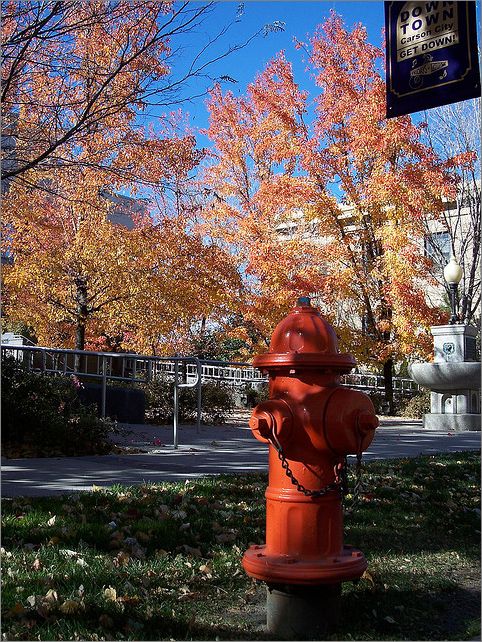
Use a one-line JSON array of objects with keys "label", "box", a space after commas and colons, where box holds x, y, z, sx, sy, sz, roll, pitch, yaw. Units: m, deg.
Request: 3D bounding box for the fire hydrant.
[{"label": "fire hydrant", "box": [0.279, 0.573, 2.978, 0.567, 1.370, 0.335, -2, -6, 8]}]
